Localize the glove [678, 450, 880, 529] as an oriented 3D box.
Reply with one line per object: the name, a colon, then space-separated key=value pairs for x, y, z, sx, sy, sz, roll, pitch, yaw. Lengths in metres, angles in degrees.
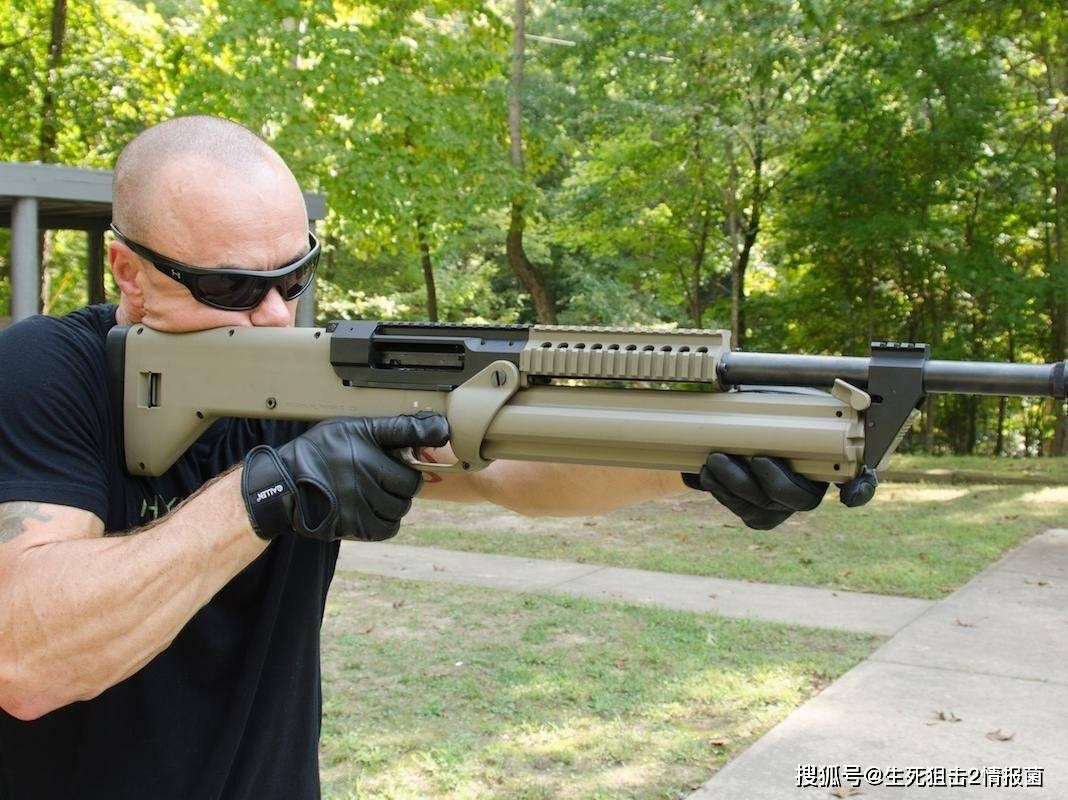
glove: x=0.668 y=0.253 z=2.747 sx=0.531 sy=0.194 sz=0.434 roll=1 pitch=-1 yaw=34

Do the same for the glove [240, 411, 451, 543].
glove: x=-0.580 y=0.159 z=2.560 sx=0.229 sy=0.370 sz=0.191 roll=-28 pitch=19 yaw=12
